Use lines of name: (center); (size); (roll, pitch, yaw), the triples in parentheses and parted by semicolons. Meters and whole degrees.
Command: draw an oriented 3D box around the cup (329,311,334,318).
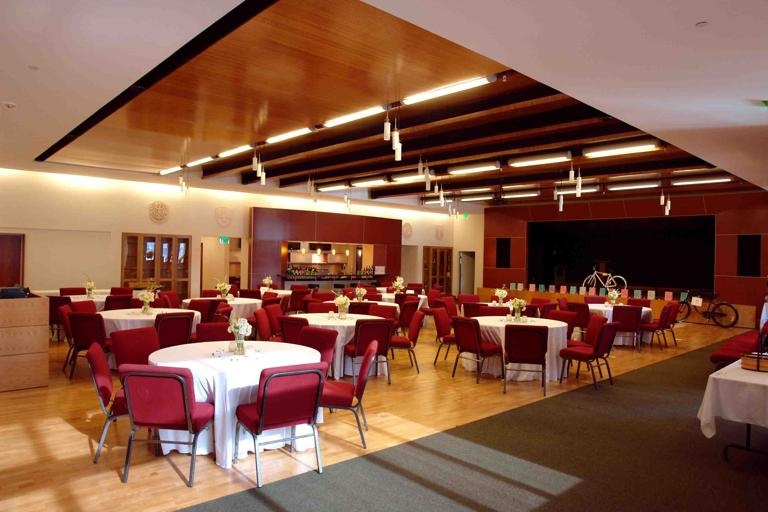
cup: (-0.930, 1.035, 9.362); (0.098, 0.094, 0.092); (0, -1, 0)

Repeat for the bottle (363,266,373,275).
bottle: (-0.569, 0.514, 18.866); (0.319, 0.259, 0.041); (0, 5, -9)

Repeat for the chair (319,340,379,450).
chair: (-0.515, 1.702, 6.658); (0.773, 1.120, 0.656); (4, 1, 0)

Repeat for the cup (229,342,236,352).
cup: (-1.919, 1.160, 6.716); (0.069, 0.126, 0.134); (0, 0, -37)

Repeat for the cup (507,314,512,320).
cup: (2.265, 1.115, 9.583); (0.090, 0.093, 0.087); (0, 0, 0)

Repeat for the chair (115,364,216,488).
chair: (-2.368, 1.809, 5.952); (0.968, 1.260, 1.008); (1, -2, 18)

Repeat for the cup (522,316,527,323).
cup: (2.561, 1.160, 9.645); (0.104, 0.091, 0.176); (-1, -11, 16)

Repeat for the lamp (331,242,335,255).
lamp: (-1.755, -0.228, 18.415); (0.131, 0.378, 0.340); (0, 8, -6)

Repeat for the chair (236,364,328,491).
chair: (-1.191, 1.832, 6.091); (0.992, 1.226, 0.958); (2, 1, 43)

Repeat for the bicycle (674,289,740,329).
bicycle: (9.831, 1.599, 16.039); (0.931, 1.083, 1.976); (-4, 11, -44)

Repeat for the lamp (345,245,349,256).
lamp: (-1.313, -0.161, 18.817); (0.077, 0.271, 0.249); (7, 10, 36)
